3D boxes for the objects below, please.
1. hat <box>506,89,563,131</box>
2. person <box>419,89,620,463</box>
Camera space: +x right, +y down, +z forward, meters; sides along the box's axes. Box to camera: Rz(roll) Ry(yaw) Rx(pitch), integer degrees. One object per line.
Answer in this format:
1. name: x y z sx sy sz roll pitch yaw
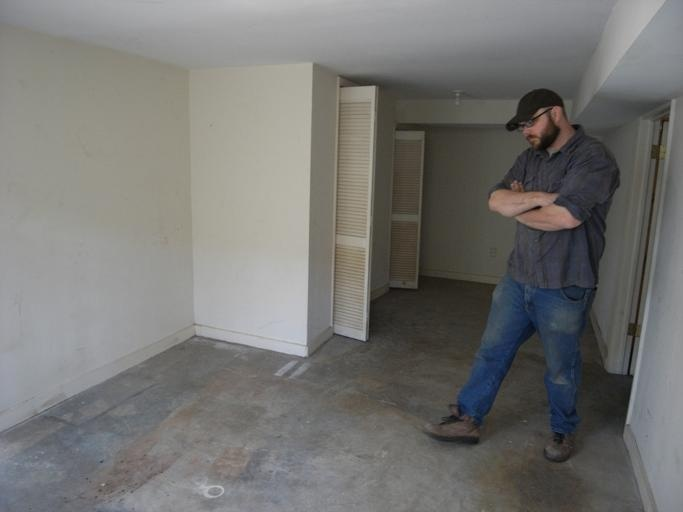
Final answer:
1. hat: 1.116 -0.870 2.833 0.342 0.167 0.236 -14 1 -7
2. person: 1.158 0.138 2.941 0.777 2.186 0.502 7 15 24
